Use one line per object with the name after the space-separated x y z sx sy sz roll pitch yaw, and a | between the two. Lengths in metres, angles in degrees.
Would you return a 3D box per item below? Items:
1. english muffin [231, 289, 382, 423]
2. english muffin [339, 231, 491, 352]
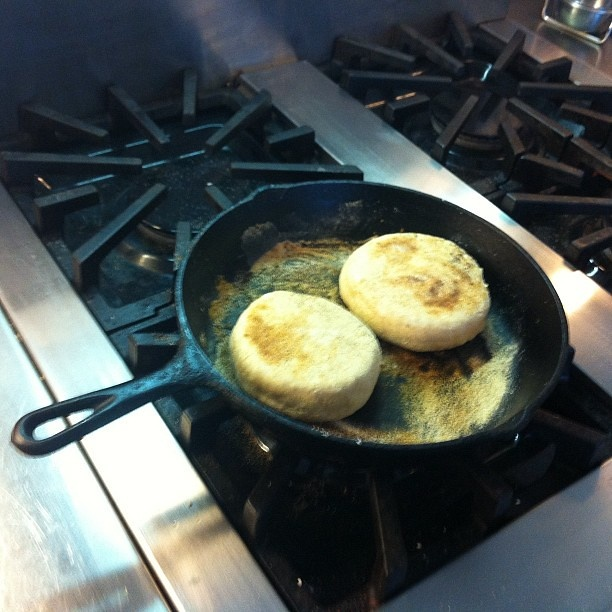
-0.004 0.047 0.719 0.175 0.050 0.185 -23 53 -24 | english muffin
0.140 -0.030 0.809 0.227 0.051 0.165 18 61 -12 | english muffin
